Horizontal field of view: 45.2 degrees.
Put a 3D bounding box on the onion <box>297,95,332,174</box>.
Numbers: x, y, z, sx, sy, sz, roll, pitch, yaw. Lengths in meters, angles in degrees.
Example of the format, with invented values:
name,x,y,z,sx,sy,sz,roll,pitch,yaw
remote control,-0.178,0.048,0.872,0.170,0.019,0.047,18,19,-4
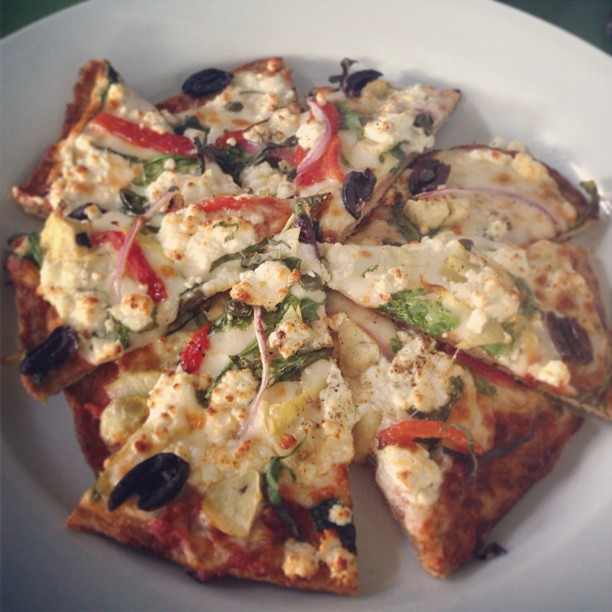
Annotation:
name,x,y,z,sx,sy,sz,roll,pitch,yaw
onion,0.074,-1.026,4.345,0.227,0.106,0.410,22,72,-20
